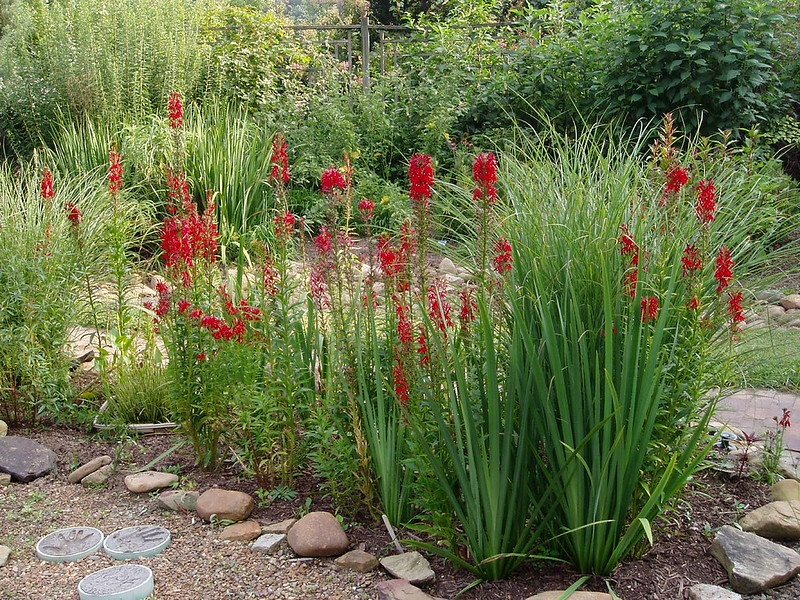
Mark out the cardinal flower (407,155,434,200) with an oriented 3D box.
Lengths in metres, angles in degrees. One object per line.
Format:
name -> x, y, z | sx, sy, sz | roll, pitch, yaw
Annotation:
cardinal flower -> 0.089, -0.532, 2.909 | 0.106, 0.206, 0.136 | 2, 22, 0

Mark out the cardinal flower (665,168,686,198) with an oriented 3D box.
cardinal flower -> 1.179, -0.498, 2.890 | 0.036, 0.131, 0.121 | 25, -31, -32
